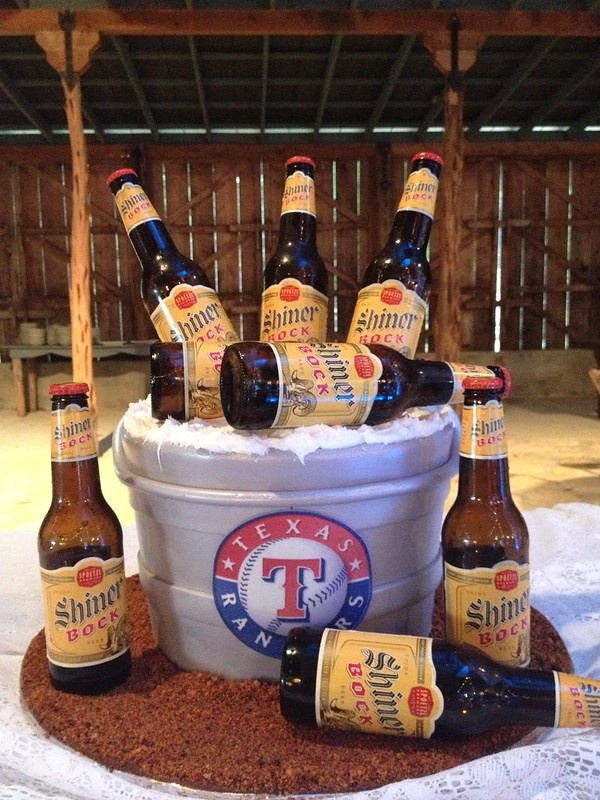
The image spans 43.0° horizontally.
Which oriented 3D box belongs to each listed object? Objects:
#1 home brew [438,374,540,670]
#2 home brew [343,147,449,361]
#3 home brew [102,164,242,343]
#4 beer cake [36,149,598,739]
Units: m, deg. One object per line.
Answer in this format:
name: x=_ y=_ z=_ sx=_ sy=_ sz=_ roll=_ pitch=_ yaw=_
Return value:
home brew: x=0.197 y=0.151 z=0.824 sx=0.110 sy=0.347 sz=0.093 roll=-1 pitch=11 yaw=7
home brew: x=0.126 y=-0.174 z=1.019 sx=0.123 sy=0.280 sz=0.108 roll=2 pitch=0 yaw=-25
home brew: x=-0.160 y=-0.148 z=0.982 sx=0.133 sy=0.265 sz=0.104 roll=-1 pitch=2 yaw=-39
beer cake: x=0.029 y=0.087 z=0.921 sx=0.566 sy=0.643 sz=0.450 roll=1 pitch=-6 yaw=0
